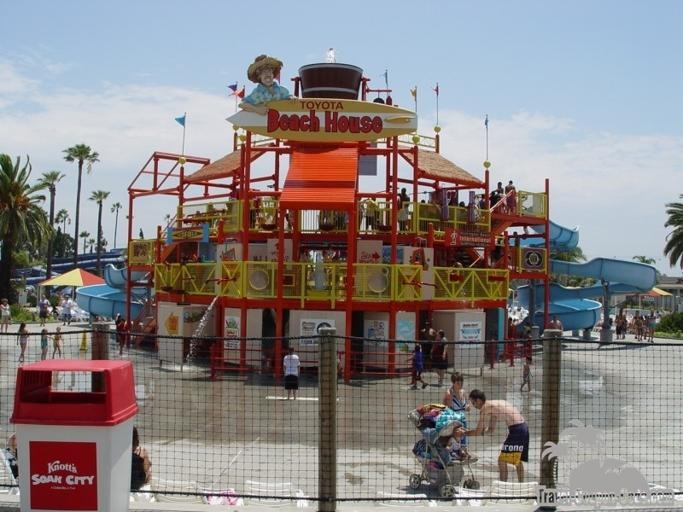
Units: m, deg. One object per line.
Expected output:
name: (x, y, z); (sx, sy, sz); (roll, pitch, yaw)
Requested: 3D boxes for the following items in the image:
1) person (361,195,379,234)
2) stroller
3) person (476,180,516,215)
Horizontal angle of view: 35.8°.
person: (1.042, -1.574, 37.863); (0.548, 1.442, 0.410); (0, -25, 6)
stroller: (2.196, 4.177, 23.160); (1.417, 1.820, 1.420); (4, 5, 10)
person: (6.095, -2.383, 41.945); (1.134, 1.360, 2.788); (0, -5, 21)
